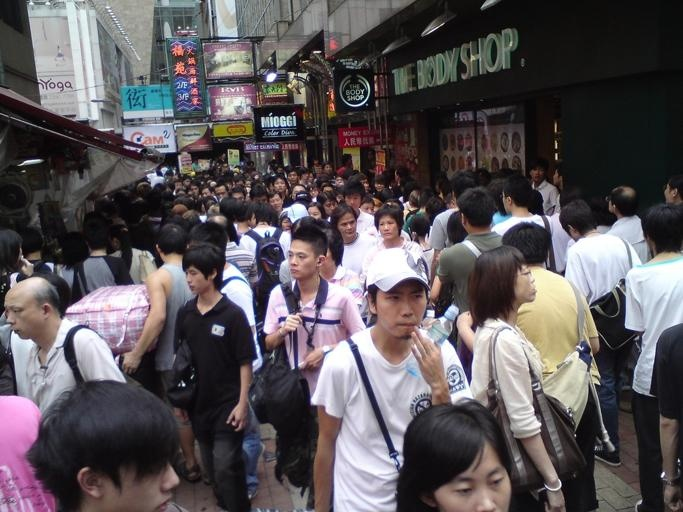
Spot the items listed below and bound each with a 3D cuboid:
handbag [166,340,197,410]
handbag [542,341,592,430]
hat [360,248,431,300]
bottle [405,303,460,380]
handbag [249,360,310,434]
[{"bbox_3d":[-1.129,0.861,3.943,0.144,0.428,0.298,0,-1,-31],"label":"handbag"},{"bbox_3d":[1.250,0.732,3.007,0.197,0.189,0.410,4,47,43],"label":"handbag"},{"bbox_3d":[0.250,0.063,2.510,0.205,0.177,0.255,-8,10,-44],"label":"hat"},{"bbox_3d":[0.440,0.384,2.576,0.202,0.288,0.334,1,7,18],"label":"bottle"},{"bbox_3d":[-0.405,0.931,3.576,0.351,0.442,0.212,2,7,26],"label":"handbag"}]
